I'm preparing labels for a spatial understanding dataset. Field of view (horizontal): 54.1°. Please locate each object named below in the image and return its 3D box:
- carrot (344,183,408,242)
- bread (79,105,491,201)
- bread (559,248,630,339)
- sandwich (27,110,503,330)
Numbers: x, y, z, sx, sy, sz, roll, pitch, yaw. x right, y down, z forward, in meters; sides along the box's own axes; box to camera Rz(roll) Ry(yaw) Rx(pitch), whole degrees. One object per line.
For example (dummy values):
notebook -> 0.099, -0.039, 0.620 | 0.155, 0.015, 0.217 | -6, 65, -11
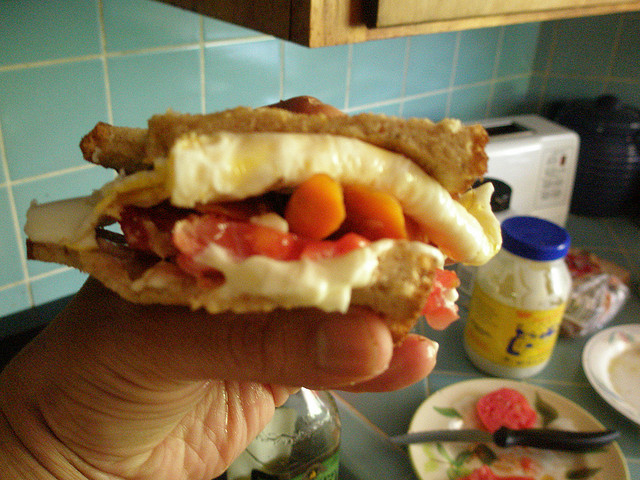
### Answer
carrot -> 0.055, -0.028, 0.647 | 0.065, 0.048, 0.015 | 23, 0, 3
bread -> -0.039, -0.090, 0.689 | 0.422, 0.104, 0.074 | 5, 19, -5
bread -> 0.572, 0.103, 1.347 | 0.133, 0.104, 0.291 | 17, 31, 30
sandwich -> -0.056, -0.048, 0.752 | 0.575, 0.221, 0.293 | 8, 5, -6
